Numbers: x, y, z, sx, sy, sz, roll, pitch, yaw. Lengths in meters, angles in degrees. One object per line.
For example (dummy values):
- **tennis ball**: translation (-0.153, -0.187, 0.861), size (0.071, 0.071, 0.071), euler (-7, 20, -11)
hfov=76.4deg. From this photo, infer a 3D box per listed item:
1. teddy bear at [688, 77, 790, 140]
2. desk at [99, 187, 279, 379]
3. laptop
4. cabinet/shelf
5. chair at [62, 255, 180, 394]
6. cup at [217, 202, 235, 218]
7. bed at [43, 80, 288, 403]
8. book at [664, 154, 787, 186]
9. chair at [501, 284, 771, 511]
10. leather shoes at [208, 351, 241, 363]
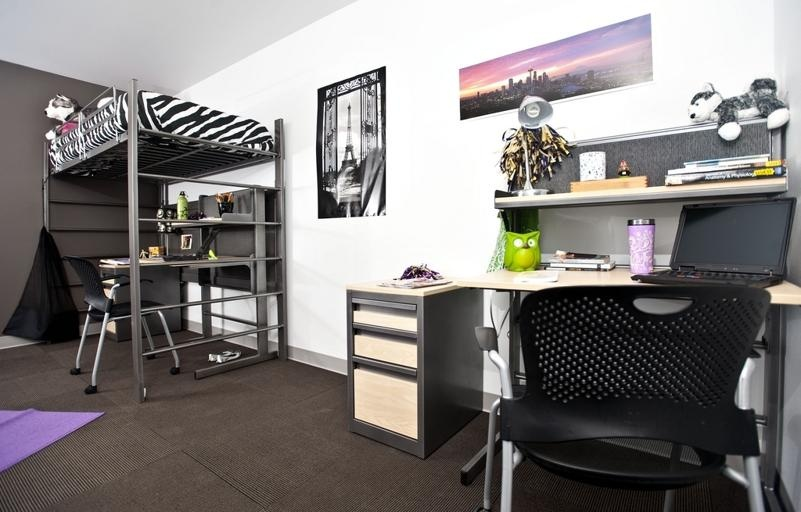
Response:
- **teddy bear**: translation (1.968, -0.801, 2.958), size (0.398, 0.185, 0.381), euler (-5, 30, 44)
- **desk**: translation (-1.982, 0.155, 4.878), size (1.208, 1.464, 1.424), euler (-2, 4, -40)
- **laptop**: translation (1.820, -0.088, 2.810), size (0.658, 0.426, 0.594), euler (-1, 1, -44)
- **cabinet/shelf**: translation (0.199, 0.737, 3.742), size (0.889, 1.040, 1.002), euler (1, 3, 35)
- **chair**: translation (-2.407, 0.539, 4.430), size (0.830, 0.964, 0.781), euler (-1, 5, -33)
- **cup**: translation (-1.624, -0.436, 4.762), size (0.167, 0.123, 0.173), euler (0, -3, 0)
- **bed**: translation (-2.863, -0.223, 4.965), size (3.123, 2.368, 1.702), euler (3, 5, 27)
- **book**: translation (1.781, -0.468, 2.810), size (0.572, 0.161, 0.073), euler (3, 12, 16)
- **chair**: translation (1.058, 0.638, 2.824), size (1.172, 1.431, 1.122), euler (0, 3, 9)
- **leather shoes**: translation (-1.584, 0.907, 4.625), size (0.138, 0.051, 0.184), euler (1, 5, 38)
